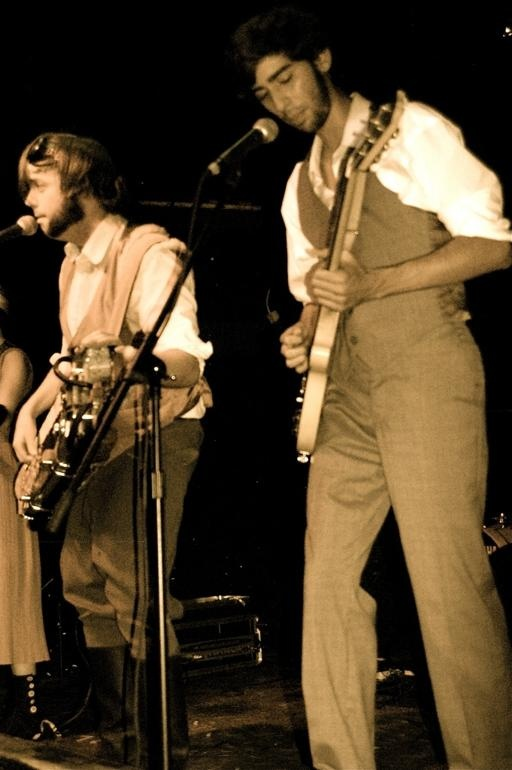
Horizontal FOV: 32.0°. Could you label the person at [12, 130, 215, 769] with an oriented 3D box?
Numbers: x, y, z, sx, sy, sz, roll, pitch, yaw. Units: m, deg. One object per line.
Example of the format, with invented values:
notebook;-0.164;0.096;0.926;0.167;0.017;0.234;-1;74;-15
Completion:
person;-0.464;0.100;3.086;0.548;2.267;1.209;3;-11;-27
